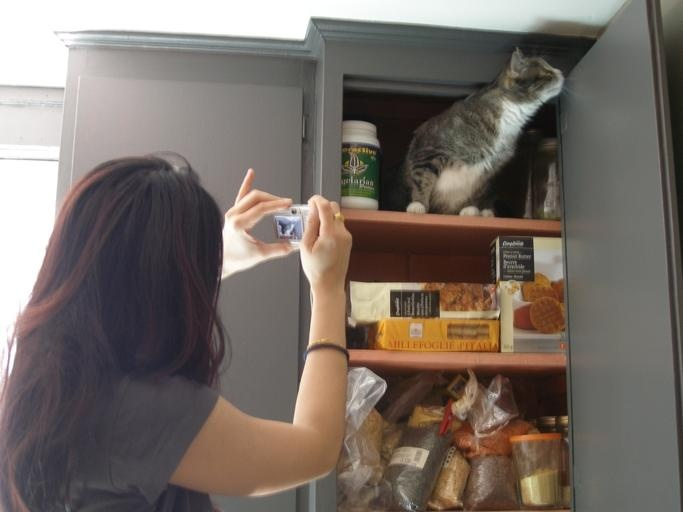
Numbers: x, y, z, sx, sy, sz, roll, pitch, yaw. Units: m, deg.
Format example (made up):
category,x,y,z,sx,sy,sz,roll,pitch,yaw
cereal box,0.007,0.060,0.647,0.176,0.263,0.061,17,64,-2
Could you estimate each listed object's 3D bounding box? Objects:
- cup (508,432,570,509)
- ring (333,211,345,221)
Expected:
category,x,y,z,sx,sy,sz,roll,pitch,yaw
cup,0.501,0.549,1.530,0.143,0.186,0.158,-2,-19,0
ring,-0.006,-0.082,1.258,0.016,0.020,0.022,2,24,16
